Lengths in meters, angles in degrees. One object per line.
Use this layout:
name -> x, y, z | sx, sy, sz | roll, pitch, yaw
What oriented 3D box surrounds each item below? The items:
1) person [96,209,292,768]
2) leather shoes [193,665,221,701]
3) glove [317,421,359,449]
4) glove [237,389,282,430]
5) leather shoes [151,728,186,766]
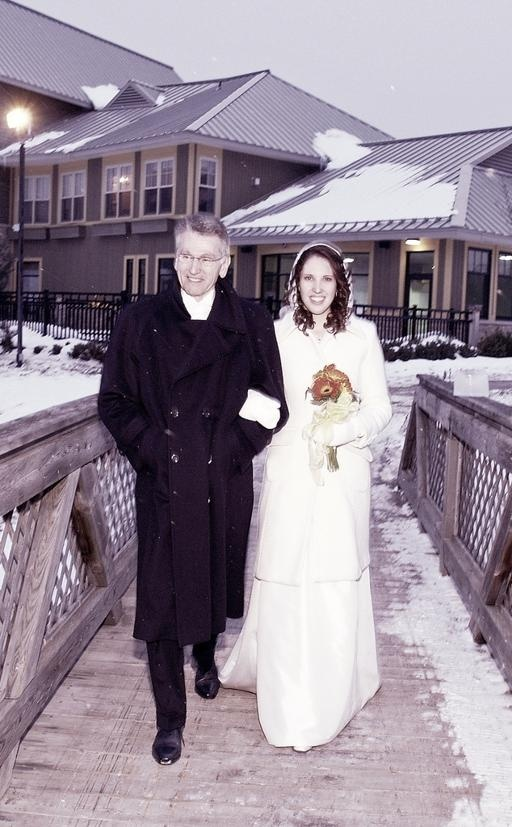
person -> -0.219, 0.232, 1.957 | 0.632, 1.778, 0.351 | 2, -3, -18
leather shoes -> -0.200, 1.107, 2.353 | 0.083, 0.114, 0.272 | 0, -10, -6
glove -> 0.277, 0.069, 1.955 | 0.080, 0.054, 0.135 | -4, 0, -13
glove -> 0.018, -0.015, 1.925 | 0.154, 0.131, 0.113 | 2, -3, -16
leather shoes -> -0.286, 1.069, 1.867 | 0.090, 0.086, 0.179 | 2, -4, -3
